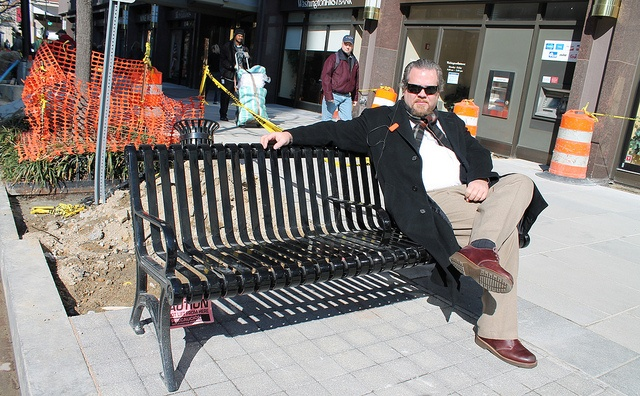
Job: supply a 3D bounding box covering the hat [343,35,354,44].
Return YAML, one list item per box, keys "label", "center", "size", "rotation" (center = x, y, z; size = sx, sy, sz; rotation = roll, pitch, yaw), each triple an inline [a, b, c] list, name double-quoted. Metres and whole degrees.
- label: "hat"
  center: [0.585, -3.238, 8.773]
  size: [0.190, 0.136, 0.257]
  rotation: [4, 19, -8]

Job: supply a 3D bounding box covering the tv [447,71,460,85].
- label: "tv"
  center: [4.052, -3.628, 12.948]
  size: [0.047, 0.429, 0.449]
  rotation: [-1, 15, -41]

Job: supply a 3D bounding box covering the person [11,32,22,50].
- label: "person"
  center: [-8.766, -4.525, 12.440]
  size: [0.167, 0.487, 1.020]
  rotation: [-11, 22, -38]
